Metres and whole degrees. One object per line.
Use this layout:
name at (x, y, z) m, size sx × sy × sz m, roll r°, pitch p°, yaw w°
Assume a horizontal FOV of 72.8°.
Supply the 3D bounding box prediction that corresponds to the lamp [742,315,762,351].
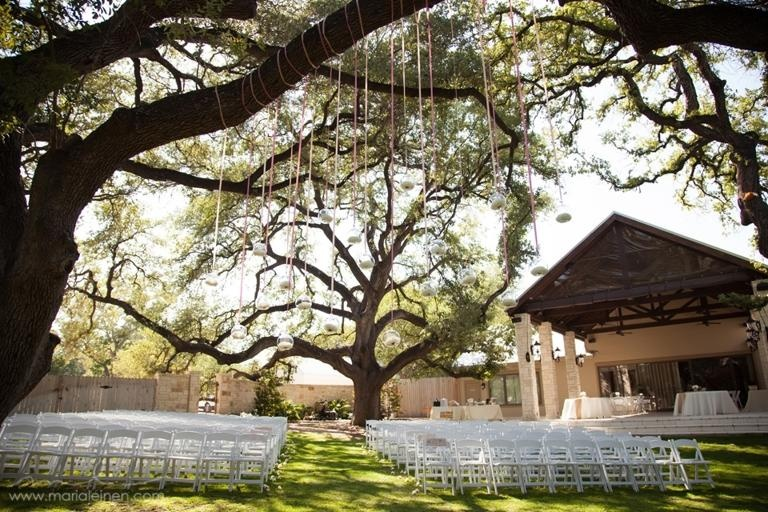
lamp at (10.388, 2.056, 14.632) m, size 0.365 × 1.026 × 1.585 m, roll -12°, pitch -25°, yaw 32°

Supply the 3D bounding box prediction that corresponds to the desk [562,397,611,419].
desk at (6.203, 4.643, 16.026) m, size 1.376 × 0.712 × 1.006 m, roll -9°, pitch -23°, yaw 26°
